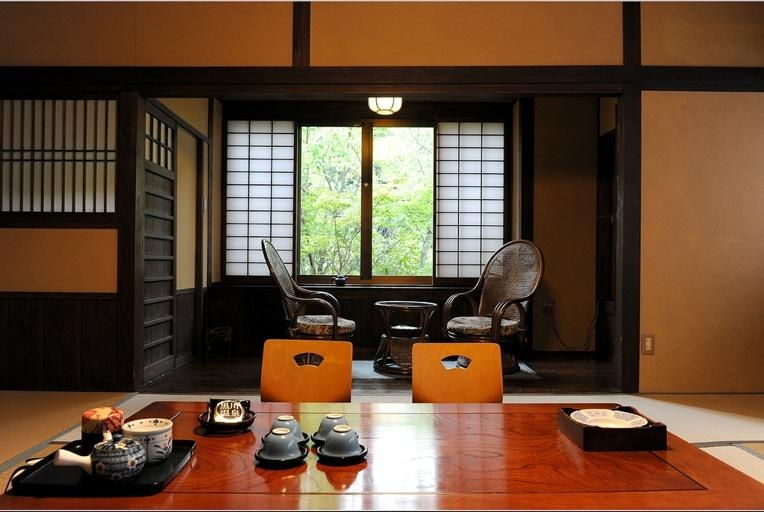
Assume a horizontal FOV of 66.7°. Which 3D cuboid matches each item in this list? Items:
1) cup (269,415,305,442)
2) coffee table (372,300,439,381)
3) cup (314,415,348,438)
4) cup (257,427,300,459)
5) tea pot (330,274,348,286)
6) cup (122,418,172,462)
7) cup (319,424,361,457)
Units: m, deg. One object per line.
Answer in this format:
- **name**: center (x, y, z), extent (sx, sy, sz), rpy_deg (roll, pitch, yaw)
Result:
- **cup**: center (-0.424, 0.778, 2.646), extent (0.122, 0.065, 0.123), rpy_deg (1, -4, 0)
- **coffee table**: center (0.235, 0.815, 5.811), extent (0.648, 0.685, 0.623), rpy_deg (3, -3, -24)
- **cup**: center (-0.243, 0.781, 2.671), extent (0.109, 0.053, 0.111), rpy_deg (1, -5, 0)
- **cup**: center (-0.456, 0.840, 2.617), extent (0.234, 0.106, 0.227), rpy_deg (1, -2, 0)
- **tea pot**: center (-0.489, 0.313, 6.700), extent (0.209, 0.145, 0.108), rpy_deg (0, -5, -6)
- **cup**: center (-1.045, 0.838, 2.610), extent (0.215, 0.173, 0.225), rpy_deg (-3, -5, 0)
- **cup**: center (-0.179, 0.827, 2.621), extent (0.220, 0.100, 0.219), rpy_deg (1, 0, 0)
